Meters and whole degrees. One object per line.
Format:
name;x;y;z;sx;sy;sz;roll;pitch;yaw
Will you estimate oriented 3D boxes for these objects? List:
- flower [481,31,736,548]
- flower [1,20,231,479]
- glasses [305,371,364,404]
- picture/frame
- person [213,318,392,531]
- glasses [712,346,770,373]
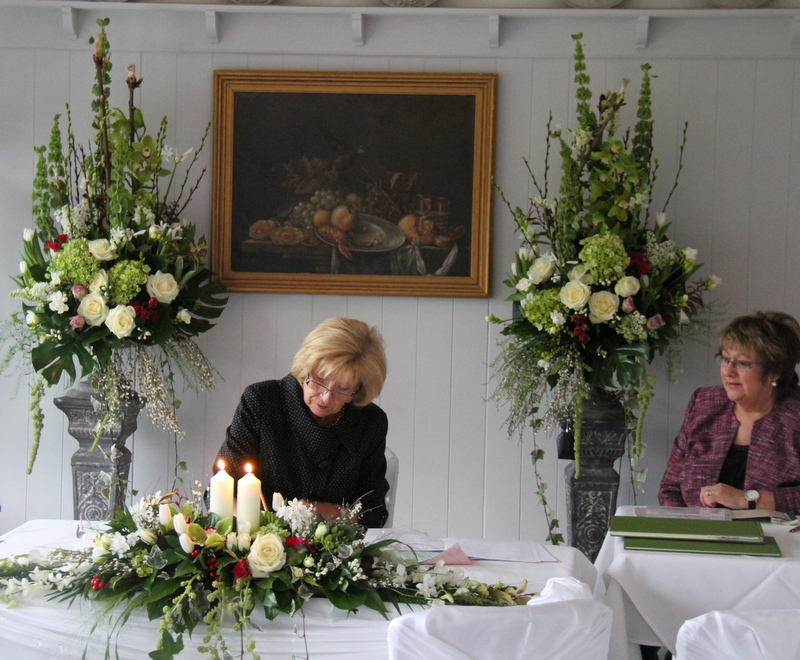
flower;0.833;-0.097;3.274;0.706;1.504;0.670;-4;11;3
flower;-1.267;-0.440;3.361;0.971;2.046;0.835;1;2;-5
glasses;-0.237;0.196;2.561;0.183;0.096;0.085;1;2;-2
picture/frame;-0.203;-0.738;3.607;0.990;0.893;0.052;1;1;5
person;-0.320;0.392;2.692;0.572;0.951;0.487;5;17;-13
glasses;1.325;0.119;2.966;0.114;0.080;0.207;0;2;-26
